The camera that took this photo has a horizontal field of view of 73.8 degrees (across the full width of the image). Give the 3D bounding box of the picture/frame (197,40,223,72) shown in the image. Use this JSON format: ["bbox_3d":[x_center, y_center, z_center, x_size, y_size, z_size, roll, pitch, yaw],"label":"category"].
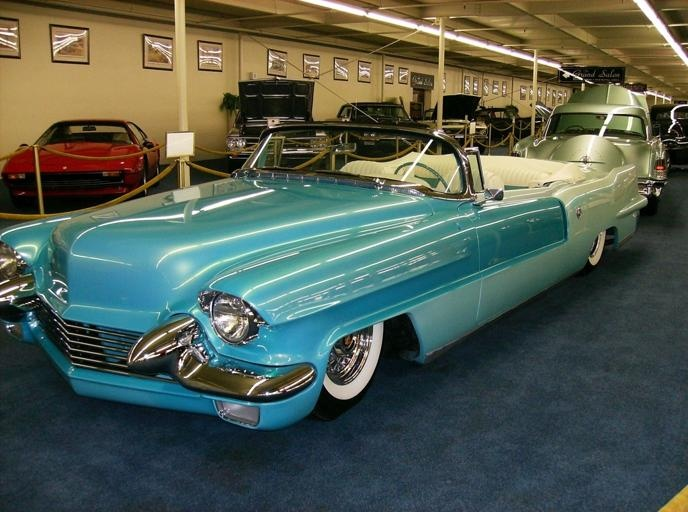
[{"bbox_3d":[-4.316,-6.400,14.738,0.204,0.906,0.989,12,22,27],"label":"picture/frame"}]

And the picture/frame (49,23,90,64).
[{"bbox_3d":[-7.014,-5.386,11.728,0.100,0.907,1.015,15,24,33],"label":"picture/frame"}]

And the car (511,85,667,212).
[{"bbox_3d":[5.431,-2.386,9.544,2.235,1.517,3.494,5,15,27],"label":"car"}]
